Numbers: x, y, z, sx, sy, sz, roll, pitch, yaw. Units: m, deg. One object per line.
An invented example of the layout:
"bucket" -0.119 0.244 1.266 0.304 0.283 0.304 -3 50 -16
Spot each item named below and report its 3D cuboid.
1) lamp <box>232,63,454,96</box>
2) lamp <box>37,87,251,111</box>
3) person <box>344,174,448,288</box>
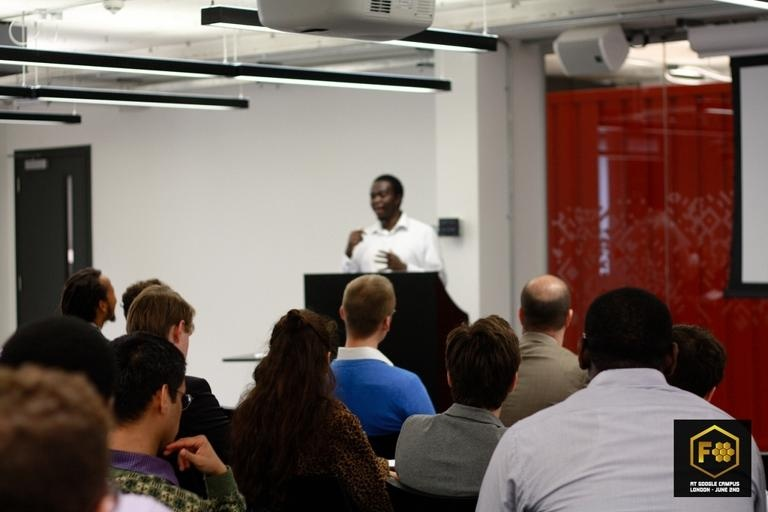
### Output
"lamp" -0.253 -1.167 5.069 1.478 0.101 0.209 -1 1 -24
"lamp" -1.769 -1.165 5.657 1.492 0.131 0.270 -1 1 -27
"person" 0.058 -0.197 5.548 0.576 0.773 0.729 0 1 43
